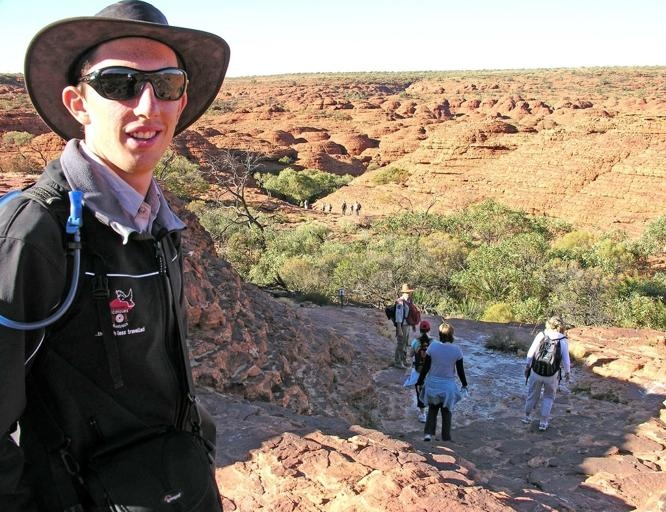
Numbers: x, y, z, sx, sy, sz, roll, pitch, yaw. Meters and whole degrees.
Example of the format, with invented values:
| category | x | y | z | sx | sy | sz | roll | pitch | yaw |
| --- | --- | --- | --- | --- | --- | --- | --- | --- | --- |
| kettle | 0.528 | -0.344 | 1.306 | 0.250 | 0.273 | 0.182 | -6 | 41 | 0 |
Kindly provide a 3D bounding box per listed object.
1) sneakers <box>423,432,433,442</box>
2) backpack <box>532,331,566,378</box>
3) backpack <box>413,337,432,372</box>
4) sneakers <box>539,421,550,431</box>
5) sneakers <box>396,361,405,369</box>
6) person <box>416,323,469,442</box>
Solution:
| category | x | y | z | sx | sy | sz | roll | pitch | yaw |
| --- | --- | --- | --- | --- | --- | --- | --- | --- | --- |
| sneakers | 1.216 | 2.194 | 6.671 | 0.096 | 0.151 | 0.171 | 3 | -11 | -1 |
| backpack | 2.953 | 1.250 | 7.043 | 0.388 | 0.513 | 0.392 | 13 | -4 | -11 |
| backpack | 1.230 | 1.260 | 7.340 | 0.345 | 0.389 | 0.462 | 1 | -3 | 2 |
| sneakers | 2.855 | 2.192 | 7.124 | 0.120 | 0.053 | 0.141 | -3 | -1 | 11 |
| sneakers | 1.192 | 1.801 | 9.232 | 0.203 | 0.154 | 0.094 | -2 | 6 | 15 |
| person | 1.412 | 1.561 | 6.805 | 0.622 | 1.483 | 0.557 | 0 | 9 | -14 |
